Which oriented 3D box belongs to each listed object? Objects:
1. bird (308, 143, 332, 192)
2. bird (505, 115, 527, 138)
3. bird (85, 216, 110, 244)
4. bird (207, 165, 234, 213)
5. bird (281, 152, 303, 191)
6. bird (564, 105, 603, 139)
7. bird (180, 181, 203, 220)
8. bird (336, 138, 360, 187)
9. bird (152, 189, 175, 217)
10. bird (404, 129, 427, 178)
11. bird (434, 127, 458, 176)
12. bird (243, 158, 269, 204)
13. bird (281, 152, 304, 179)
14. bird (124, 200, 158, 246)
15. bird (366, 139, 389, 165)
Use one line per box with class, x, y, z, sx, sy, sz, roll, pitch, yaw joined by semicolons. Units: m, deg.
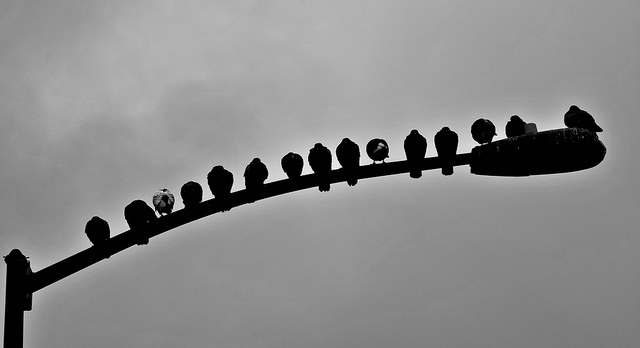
bird;0.027;-0.230;20.666;0.368;0.508;0.258;-6;-13;-2
bird;3.260;-0.755;21.018;0.226;0.352;0.457;-1;-13;-23
bird;-3.544;0.921;20.451;0.364;0.409;0.408;-3;-46;-10
bird;-1.593;0.283;20.564;0.408;0.706;0.312;-2;-12;1
bird;-0.407;-0.019;20.574;0.258;0.644;0.267;-3;29;-5
bird;4.425;-0.865;20.840;0.693;0.445;0.500;-1;12;8
bird;-2.033;0.443;20.579;0.332;0.636;0.215;-5;-13;-8
bird;0.480;-0.312;20.672;0.375;0.537;0.268;-7;-13;0
bird;-2.508;0.490;20.655;0.337;0.516;0.430;-6;-13;-6
bird;1.578;-0.343;20.785;0.424;0.302;0.699;0;-47;6
bird;2.086;-0.354;20.612;0.368;0.680;0.292;-1;-9;2
bird;-1.000;0.133;20.646;0.375;0.791;0.298;-6;-13;-4
bird;-0.414;-0.104;20.555;0.342;0.369;0.391;-1;-20;-4
bird;-2.861;0.820;20.430;0.568;0.681;0.286;-4;5;-5
bird;0.965;-0.326;20.778;0.422;0.431;0.389;1;-12;-5
